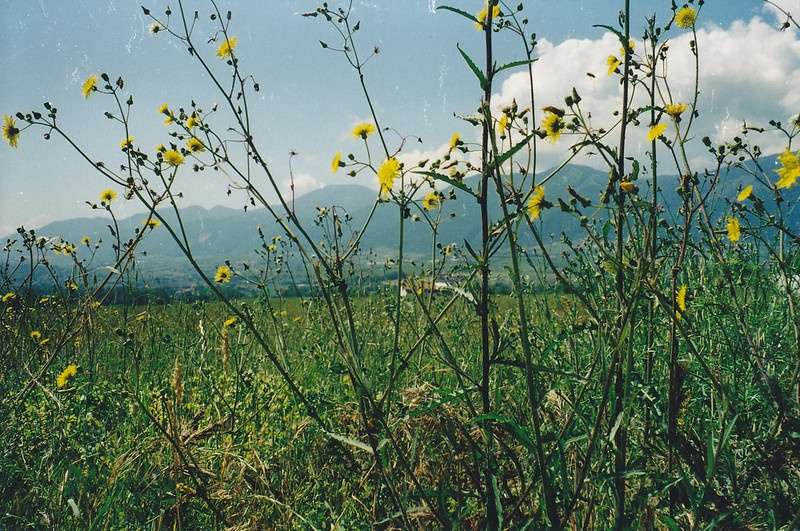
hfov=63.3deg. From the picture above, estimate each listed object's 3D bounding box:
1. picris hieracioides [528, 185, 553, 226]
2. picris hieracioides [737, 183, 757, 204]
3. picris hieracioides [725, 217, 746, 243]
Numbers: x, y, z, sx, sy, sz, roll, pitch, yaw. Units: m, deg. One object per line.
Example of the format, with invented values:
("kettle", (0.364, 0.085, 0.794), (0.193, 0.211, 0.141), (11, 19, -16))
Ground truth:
("picris hieracioides", (0.756, -0.354, 3.620), (0.084, 0.190, 0.183), (23, -13, -19))
("picris hieracioides", (2.098, -0.445, 3.963), (0.087, 0.092, 0.251), (-7, 2, 28))
("picris hieracioides", (2.097, -0.234, 4.087), (0.081, 0.143, 0.349), (-7, 2, 28))
